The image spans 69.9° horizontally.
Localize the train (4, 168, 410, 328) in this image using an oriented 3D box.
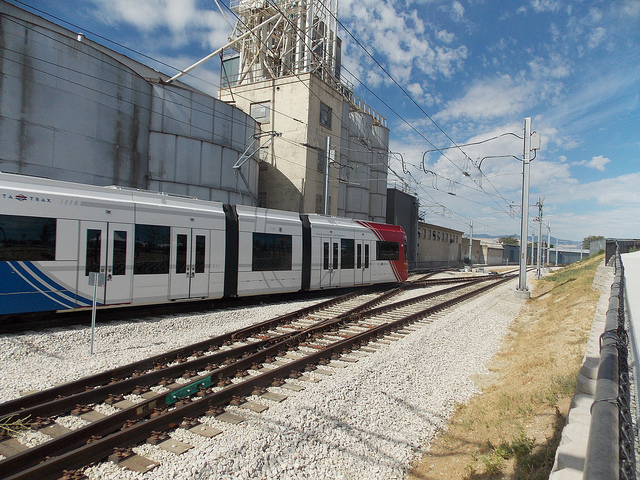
[{"bbox_3d":[-2.106,0.450,17.998,2.078,4.143,17.497,8,5,43],"label":"train"}]
